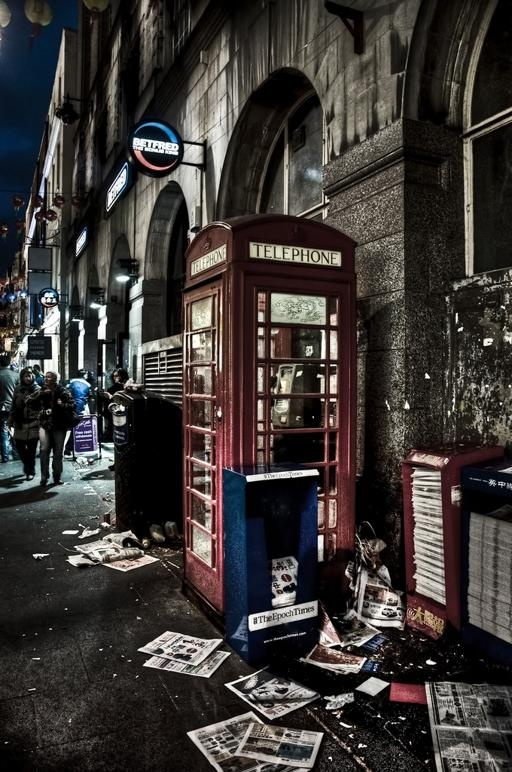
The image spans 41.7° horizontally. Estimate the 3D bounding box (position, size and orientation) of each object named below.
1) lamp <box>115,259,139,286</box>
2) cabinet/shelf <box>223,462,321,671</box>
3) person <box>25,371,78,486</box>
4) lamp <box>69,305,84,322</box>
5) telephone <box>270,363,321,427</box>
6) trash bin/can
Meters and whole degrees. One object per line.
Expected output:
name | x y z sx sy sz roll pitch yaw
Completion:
lamp | -2.600 -2.359 13.728 0.370 0.525 0.816 -1 3 -16
cabinet/shelf | 0.110 0.989 3.895 0.536 1.038 0.383 -2 2 -27
person | -2.858 0.598 9.492 0.611 1.571 0.909 -2 2 -25
lamp | -6.782 -2.752 25.312 0.300 0.614 2.510 -1 3 -19
telephone | 0.269 0.060 4.472 0.189 0.437 0.240 3 4 43
trash bin/can | -1.006 0.742 6.263 0.656 1.328 0.404 -1 2 -15
